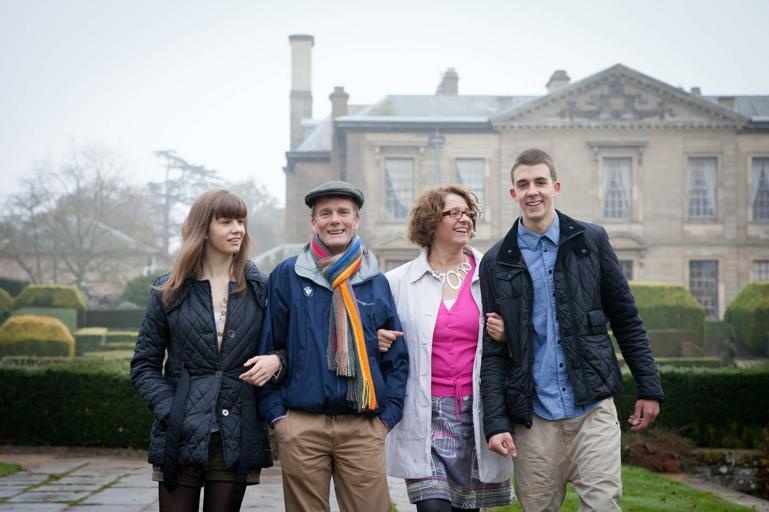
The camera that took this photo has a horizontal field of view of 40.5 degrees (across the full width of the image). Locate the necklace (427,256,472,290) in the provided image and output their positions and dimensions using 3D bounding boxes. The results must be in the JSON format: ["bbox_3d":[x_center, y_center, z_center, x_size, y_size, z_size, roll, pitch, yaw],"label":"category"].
[{"bbox_3d":[0.809,0.194,11.913,0.330,0.328,0.019,-42,-16,-18],"label":"necklace"}]
